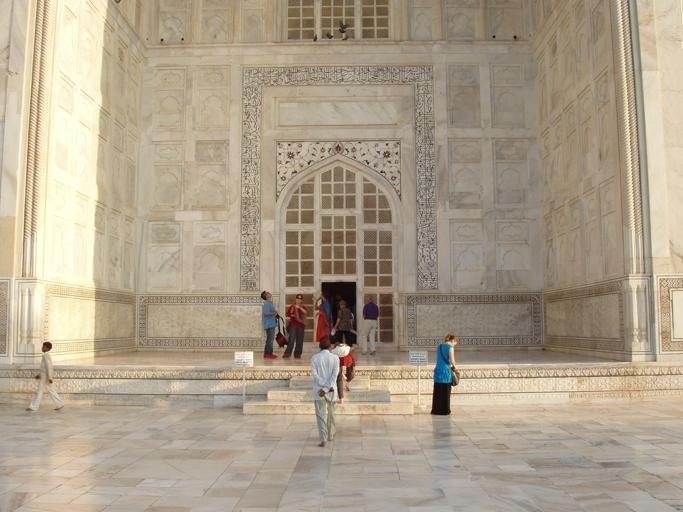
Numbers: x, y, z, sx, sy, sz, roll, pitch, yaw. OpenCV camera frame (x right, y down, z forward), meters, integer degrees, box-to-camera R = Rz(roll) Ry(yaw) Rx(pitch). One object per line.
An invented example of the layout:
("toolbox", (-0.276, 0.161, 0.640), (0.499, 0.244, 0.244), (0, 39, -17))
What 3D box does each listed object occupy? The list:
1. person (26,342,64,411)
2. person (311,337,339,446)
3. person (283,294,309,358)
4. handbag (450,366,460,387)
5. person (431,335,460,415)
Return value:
("person", (-4.634, 1.860, 11.655), (0.521, 1.036, 0.677), (3, -8, -22))
("person", (-0.218, 1.657, 9.242), (0.325, 1.332, 0.427), (0, -7, -3))
("person", (-0.927, 1.343, 14.476), (0.422, 1.245, 0.727), (0, -7, -5))
("handbag", (1.662, 1.750, 10.958), (0.092, 0.277, 0.207), (-2, -7, 12))
("person", (1.507, 1.745, 11.007), (0.427, 1.170, 0.279), (-3, -8, 22))
